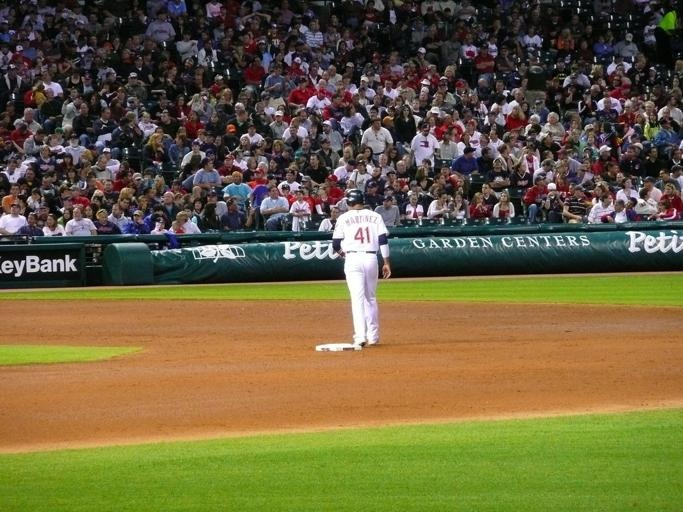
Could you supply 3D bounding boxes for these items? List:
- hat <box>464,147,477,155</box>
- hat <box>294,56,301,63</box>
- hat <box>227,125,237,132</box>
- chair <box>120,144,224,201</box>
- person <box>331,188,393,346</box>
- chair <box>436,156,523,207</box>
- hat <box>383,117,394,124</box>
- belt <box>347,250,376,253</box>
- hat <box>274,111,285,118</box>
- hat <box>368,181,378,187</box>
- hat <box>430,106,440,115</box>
[{"bbox_3d":[3.162,-2.544,36.821,0.270,0.203,0.190,-6,15,-18],"label":"hat"},{"bbox_3d":[-1.229,-5.272,40.552,0.134,0.181,0.096,-7,16,23],"label":"hat"},{"bbox_3d":[-2.759,-3.122,36.979,0.202,0.214,0.494,-1,14,1],"label":"hat"},{"bbox_3d":[-4.119,-2.054,35.558,2.399,1.085,2.408,-1,14,-2],"label":"chair"},{"bbox_3d":[0.338,0.297,25.693,0.965,2.647,0.916,-1,14,-1],"label":"person"},{"bbox_3d":[3.546,-1.744,36.422,2.251,1.117,1.321,-5,15,-18],"label":"chair"},{"bbox_3d":[1.177,-3.427,38.271,0.190,0.134,0.189,2,0,-6],"label":"hat"},{"bbox_3d":[0.330,-0.037,25.599,0.473,0.046,0.110,-2,14,-7],"label":"belt"},{"bbox_3d":[-1.594,-3.490,37.323,0.261,0.114,0.354,1,0,6],"label":"hat"},{"bbox_3d":[0.593,-1.308,27.902,0.141,0.069,0.100,13,-1,-39],"label":"hat"},{"bbox_3d":[2.418,-3.709,38.543,0.238,0.164,0.326,7,-5,-2],"label":"hat"}]
